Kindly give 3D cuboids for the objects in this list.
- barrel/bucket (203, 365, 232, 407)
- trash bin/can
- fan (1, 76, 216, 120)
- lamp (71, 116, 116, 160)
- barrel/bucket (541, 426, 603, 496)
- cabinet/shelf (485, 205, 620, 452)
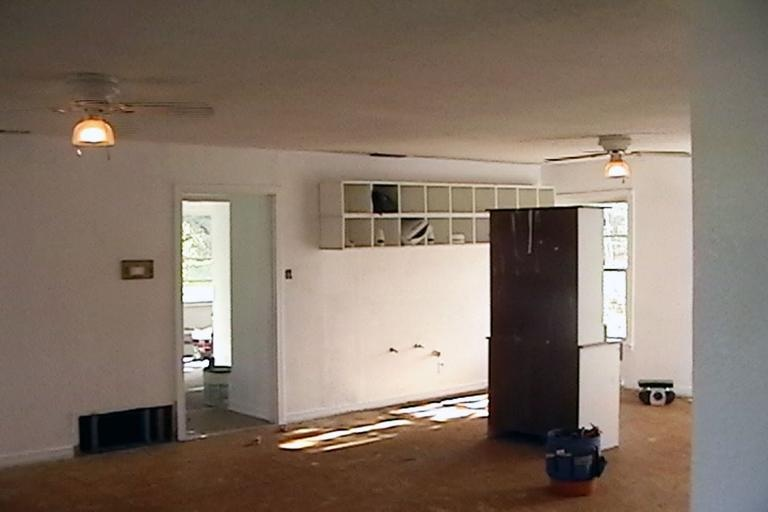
[{"bbox_3d":[-2.434,1.915,8.925,0.219,0.562,0.647,-5,6,-45],"label":"barrel/bucket"},{"bbox_3d":[1.897,2.026,6.027,0.624,0.523,0.519,2,-7,-6],"label":"trash bin/can"},{"bbox_3d":[-2.046,-1.266,4.907,0.846,0.113,0.505,-1,-4,-17],"label":"fan"},{"bbox_3d":[-2.422,-1.035,5.034,0.258,0.225,0.263,-5,6,-45],"label":"lamp"},{"bbox_3d":[1.888,2.016,6.029,0.501,0.506,0.594,-3,-7,27],"label":"barrel/bucket"},{"bbox_3d":[1.916,0.807,6.982,1.472,2.725,0.647,0,5,17],"label":"cabinet/shelf"}]
